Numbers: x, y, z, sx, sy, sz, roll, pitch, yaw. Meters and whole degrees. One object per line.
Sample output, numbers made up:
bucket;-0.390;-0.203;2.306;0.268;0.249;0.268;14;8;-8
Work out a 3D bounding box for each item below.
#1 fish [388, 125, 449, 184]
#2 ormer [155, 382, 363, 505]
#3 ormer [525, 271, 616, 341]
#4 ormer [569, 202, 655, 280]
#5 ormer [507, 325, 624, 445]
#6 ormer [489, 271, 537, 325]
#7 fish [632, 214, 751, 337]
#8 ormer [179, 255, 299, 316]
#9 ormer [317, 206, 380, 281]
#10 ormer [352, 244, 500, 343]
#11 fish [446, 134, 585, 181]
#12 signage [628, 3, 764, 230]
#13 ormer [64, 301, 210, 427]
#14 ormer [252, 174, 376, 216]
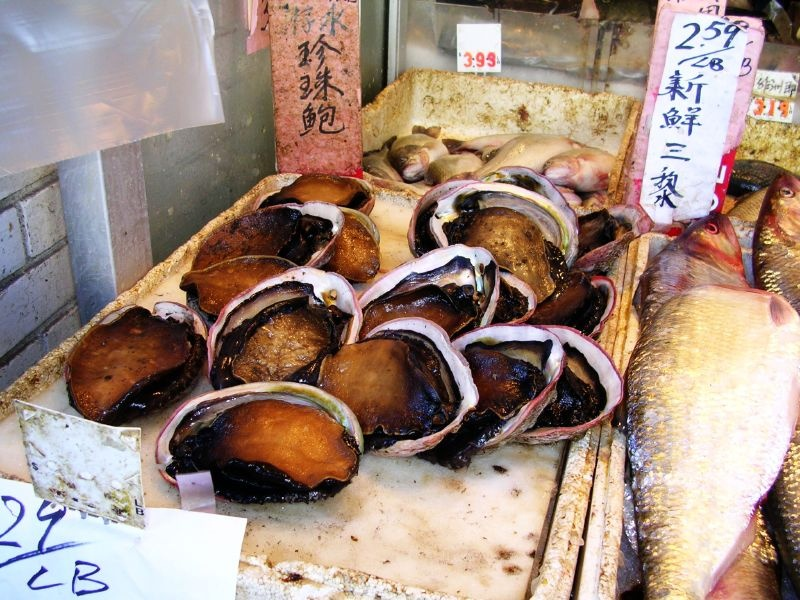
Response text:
fish;0.059;-0.598;2.664;0.248;0.093;0.255;-14;57;-5
ormer;-0.230;0.238;1.122;0.293;0.101;0.204;5;68;1
ormer;0.409;0.008;1.501;0.138;0.076;0.191;25;55;10
ormer;0.547;-0.153;1.782;0.230;0.093;0.178;-37;75;-17
ormer;0.309;0.155;1.296;0.201;0.078;0.216;0;60;-7
ormer;0.235;-0.001;1.461;0.114;0.040;0.096;30;72;8
fish;0.758;-0.073;1.714;0.290;0.110;0.342;10;62;45
ormer;-0.379;-0.038;1.466;0.177;0.050;0.151;5;51;7
ormer;-0.135;-0.121;1.654;0.157;0.101;0.173;-14;65;-19
ormer;0.059;-0.010;1.399;0.269;0.100;0.179;-20;62;-5
fish;0.457;-0.569;2.522;0.468;0.097;0.309;-6;23;-6
signage;0.813;-0.499;1.852;0.294;0.573;0.164;15;31;18
ormer;-0.521;0.112;1.301;0.225;0.091;0.280;31;47;11
ormer;-0.204;-0.298;1.779;0.191;0.060;0.155;-11;28;-25
